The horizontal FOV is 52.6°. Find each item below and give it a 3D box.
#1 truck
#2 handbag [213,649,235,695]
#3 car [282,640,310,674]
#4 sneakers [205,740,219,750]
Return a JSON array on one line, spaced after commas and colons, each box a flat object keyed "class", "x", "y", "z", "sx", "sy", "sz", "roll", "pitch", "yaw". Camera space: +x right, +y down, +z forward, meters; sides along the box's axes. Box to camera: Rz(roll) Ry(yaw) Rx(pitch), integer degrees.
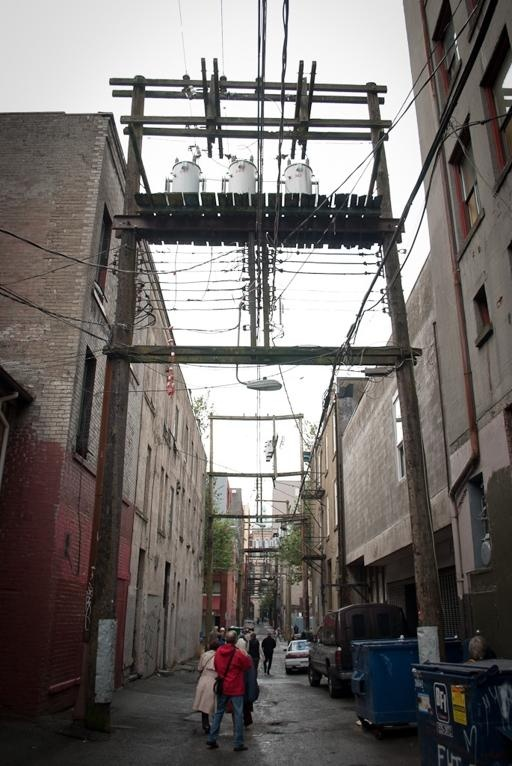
[{"class": "truck", "x": 2.272, "y": 7.928, "z": 14.658, "sx": 1.874, "sy": 3.153, "sz": 4.694, "roll": 3, "pitch": -28, "yaw": -4}, {"class": "handbag", "x": -0.483, "y": 4.102, "z": 7.308, "sx": 0.250, "sy": 0.584, "sz": 0.153, "roll": 1, "pitch": -17, "yaw": -4}, {"class": "car", "x": 1.487, "y": 12.513, "z": 23.507, "sx": 0.887, "sy": 1.397, "sz": 2.244, "roll": -1, "pitch": -23, "yaw": 1}, {"class": "sneakers", "x": -0.602, "y": 4.833, "z": 6.902, "sx": 0.150, "sy": 0.098, "sz": 0.424, "roll": 2, "pitch": -26, "yaw": -5}]
